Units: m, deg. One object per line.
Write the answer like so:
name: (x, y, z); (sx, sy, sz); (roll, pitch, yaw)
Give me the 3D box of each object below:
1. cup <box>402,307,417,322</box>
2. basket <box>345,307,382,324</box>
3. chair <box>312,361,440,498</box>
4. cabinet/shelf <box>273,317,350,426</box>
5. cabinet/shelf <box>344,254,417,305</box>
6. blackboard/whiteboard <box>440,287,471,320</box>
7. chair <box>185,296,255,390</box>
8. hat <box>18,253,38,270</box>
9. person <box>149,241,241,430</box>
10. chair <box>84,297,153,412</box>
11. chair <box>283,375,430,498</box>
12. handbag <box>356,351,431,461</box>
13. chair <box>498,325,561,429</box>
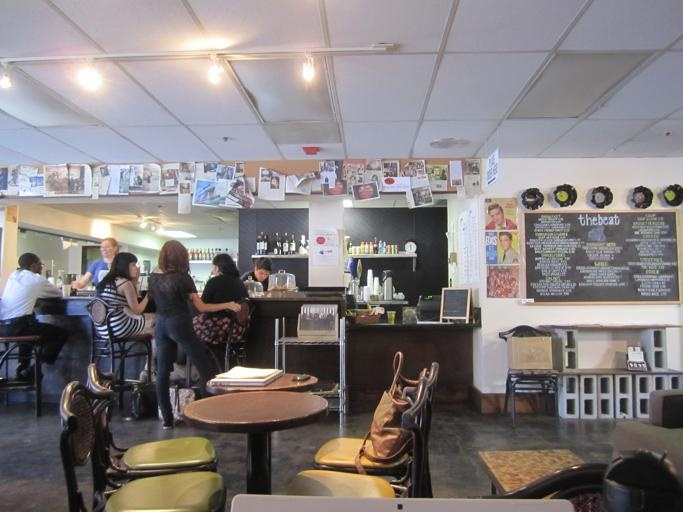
cup: (0.899, 0.768, 6.783); (0.179, 0.164, 0.173); (0, -12, 0)
basket: (0.256, 0.726, 6.242); (0.424, 0.178, 0.183); (1, -4, -5)
chair: (0.196, 1.125, 3.161); (0.772, 0.834, 0.748); (-1, -4, 1)
cabinet/shelf: (-0.256, 1.156, 5.609); (1.112, 1.404, 0.787); (1, -3, 2)
cabinet/shelf: (0.664, 0.396, 8.565); (0.900, 0.558, 0.287); (0, -10, -2)
blackboard/whiteboard: (1.367, 0.581, 6.327); (0.354, 0.438, 0.283); (2, 22, -3)
chair: (-1.250, 0.836, 5.652); (0.693, 1.031, 0.760); (0, -6, 23)
hat: (-3.727, 0.057, 6.101); (0.177, 0.198, 0.208); (8, 9, -12)
person: (-1.412, 0.752, 5.183); (0.947, 1.702, 0.715); (-3, -6, -13)
chair: (-2.472, 1.004, 5.492); (0.531, 1.020, 0.480); (11, -10, -5)
chair: (0.189, 1.080, 3.068); (0.697, 0.798, 0.676); (6, -2, 28)
handbag: (0.341, 0.933, 3.169); (0.332, 0.646, 0.606); (12, -4, 7)
chair: (2.063, 1.259, 5.669); (0.596, 0.980, 0.648); (0, -4, 13)
